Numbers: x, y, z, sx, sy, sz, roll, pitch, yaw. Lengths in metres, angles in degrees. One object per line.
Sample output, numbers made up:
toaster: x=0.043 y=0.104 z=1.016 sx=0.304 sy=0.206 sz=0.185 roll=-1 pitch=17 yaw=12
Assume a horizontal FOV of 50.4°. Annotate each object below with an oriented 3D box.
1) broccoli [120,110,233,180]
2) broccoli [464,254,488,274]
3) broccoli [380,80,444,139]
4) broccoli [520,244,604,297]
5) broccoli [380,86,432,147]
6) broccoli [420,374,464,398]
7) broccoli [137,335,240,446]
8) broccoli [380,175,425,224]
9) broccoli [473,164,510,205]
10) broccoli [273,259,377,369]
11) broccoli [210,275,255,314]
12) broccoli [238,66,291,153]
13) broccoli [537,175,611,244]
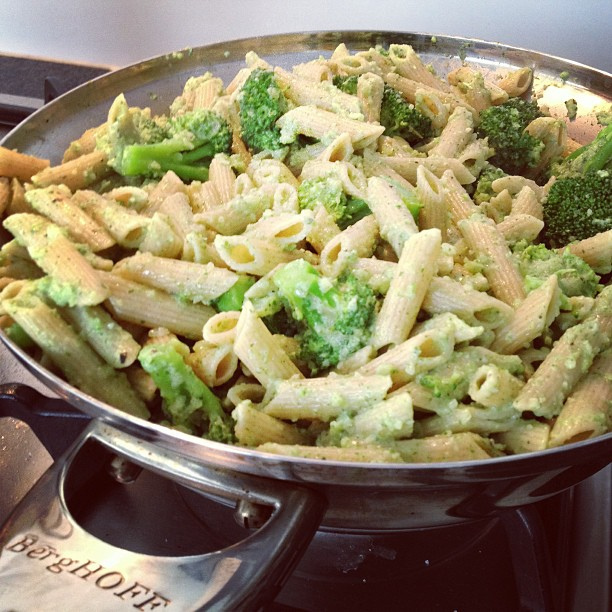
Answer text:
broccoli: x=-0.302 y=-0.384 z=1.606 sx=0.200 sy=0.116 sz=0.221 roll=23 pitch=48 yaw=23
broccoli: x=0.348 y=-0.090 z=1.342 sx=0.047 sy=0.014 sz=0.040 roll=6 pitch=67 yaw=17
broccoli: x=0.256 y=-0.492 z=1.745 sx=0.080 sy=0.166 sz=0.144 roll=-51 pitch=19 yaw=1
broccoli: x=0.524 y=-0.054 z=1.393 sx=0.148 sy=0.046 sz=0.125 roll=17 pitch=39 yaw=0
broccoli: x=0.266 y=-0.486 z=1.794 sx=0.161 sy=0.152 sz=0.097 roll=36 pitch=76 yaw=20
broccoli: x=0.235 y=0.139 z=1.152 sx=0.049 sy=0.013 sz=0.043 roll=3 pitch=39 yaw=-15
broccoli: x=-0.198 y=0.172 z=1.287 sx=0.140 sy=0.252 sz=0.078 roll=-44 pitch=8 yaw=17
broccoli: x=0.193 y=-0.240 z=1.426 sx=0.027 sy=0.104 sz=0.096 roll=-49 pitch=56 yaw=18
broccoli: x=0.455 y=-0.304 z=1.660 sx=0.088 sy=0.037 sz=0.103 roll=1 pitch=58 yaw=59
broccoli: x=0.038 y=0.021 z=1.247 sx=0.193 sy=0.186 sz=0.131 roll=-1 pitch=36 yaw=0
broccoli: x=-0.142 y=-0.015 z=1.303 sx=0.094 sy=0.075 sz=0.073 roll=-8 pitch=36 yaw=-9
broccoli: x=-0.105 y=-0.464 z=1.618 sx=0.151 sy=0.190 sz=0.075 roll=-7 pitch=-7 yaw=17
broccoli: x=0.633 y=-0.209 z=1.542 sx=0.175 sy=0.094 sz=0.179 roll=-5 pitch=59 yaw=25
